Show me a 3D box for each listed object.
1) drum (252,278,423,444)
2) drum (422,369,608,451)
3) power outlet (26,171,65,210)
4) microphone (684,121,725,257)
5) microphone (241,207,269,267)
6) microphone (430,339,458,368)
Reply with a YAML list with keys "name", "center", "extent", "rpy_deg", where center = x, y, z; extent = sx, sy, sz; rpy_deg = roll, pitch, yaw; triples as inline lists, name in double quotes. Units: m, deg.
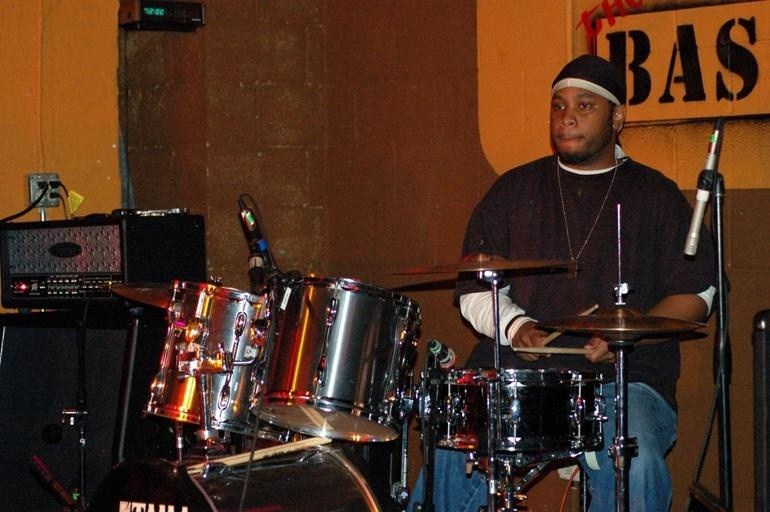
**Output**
- name: "drum"
  center: [-0.157, 0.454, 4.826]
  extent: [0.703, 0.696, 0.737]
  rpy_deg: [7, -17, 6]
- name: "drum"
  center: [0.628, 0.606, 4.493]
  extent: [0.476, 0.204, 0.497]
  rpy_deg: [1, -5, 0]
- name: "power outlet"
  center: [-2.002, -0.388, 5.940]
  extent: [0.183, 0.185, 0.098]
  rpy_deg: [-5, 8, -39]
- name: "microphone"
  center: [1.397, -0.306, 4.466]
  extent: [0.145, 0.602, 0.140]
  rpy_deg: [2, -2, 8]
- name: "microphone"
  center: [-0.662, -0.084, 5.071]
  extent: [0.108, 0.315, 0.078]
  rpy_deg: [-27, 25, -31]
- name: "microphone"
  center: [0.264, 0.455, 4.641]
  extent: [0.068, 0.123, 0.178]
  rpy_deg: [1, -3, 43]
